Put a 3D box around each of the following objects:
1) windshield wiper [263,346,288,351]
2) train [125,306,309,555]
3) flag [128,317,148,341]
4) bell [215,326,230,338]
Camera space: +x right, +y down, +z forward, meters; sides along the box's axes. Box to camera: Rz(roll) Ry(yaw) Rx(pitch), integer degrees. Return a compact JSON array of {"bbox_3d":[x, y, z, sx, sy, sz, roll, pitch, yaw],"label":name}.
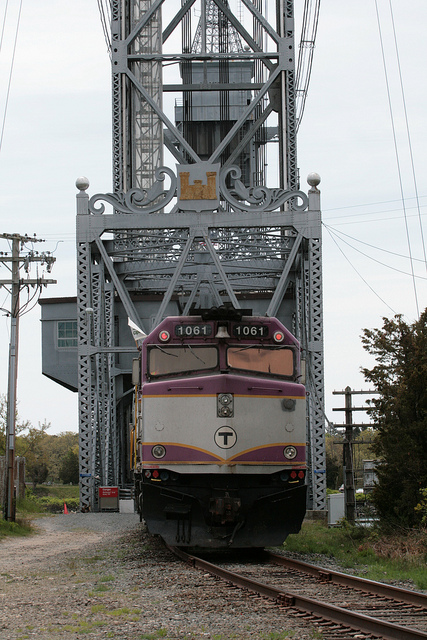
[{"bbox_3d":[0.967,0.439,15.717,0.357,0.069,0.036,1,-9,-13],"label":"windshield wiper"},{"bbox_3d":[0.079,1.697,15.673,2.589,3.812,1.768,0,-9,-4],"label":"train"},{"bbox_3d":[-1.503,0.250,20.314,0.297,0.151,0.882,-1,16,-14],"label":"flag"},{"bbox_3d":[0.148,0.193,15.545,0.161,0.129,0.172,0,-6,-1],"label":"bell"}]
